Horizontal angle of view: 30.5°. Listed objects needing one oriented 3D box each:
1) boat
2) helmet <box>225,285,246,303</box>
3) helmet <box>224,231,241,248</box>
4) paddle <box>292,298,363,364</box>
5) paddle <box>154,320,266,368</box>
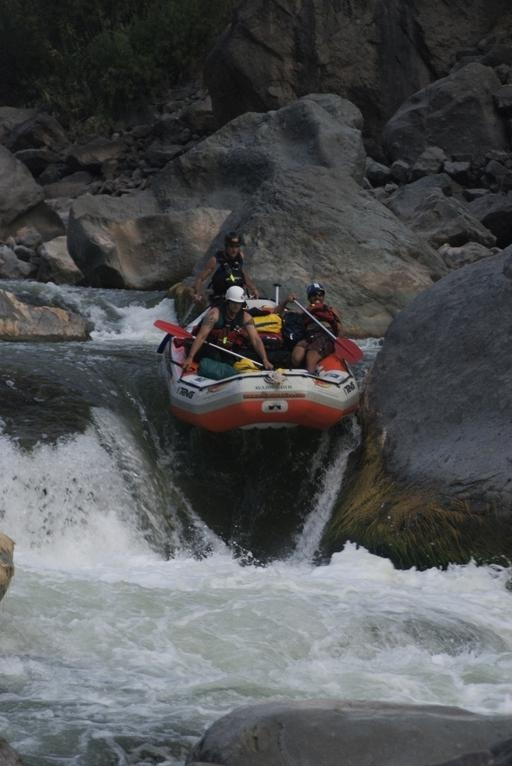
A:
[{"bbox_3d":[-0.028,-0.049,9.979,1.677,1.209,1.984,0,11,-21],"label":"boat"},{"bbox_3d":[-0.209,-0.953,9.991,0.175,0.105,0.220,7,13,-13],"label":"helmet"},{"bbox_3d":[-0.269,-1.729,11.300,0.188,0.180,0.328,3,10,-2],"label":"helmet"},{"bbox_3d":[0.694,-0.622,10.538,1.418,0.283,0.096,39,0,35],"label":"paddle"},{"bbox_3d":[-0.452,-0.424,10.296,1.871,0.218,0.131,17,22,28],"label":"paddle"}]
